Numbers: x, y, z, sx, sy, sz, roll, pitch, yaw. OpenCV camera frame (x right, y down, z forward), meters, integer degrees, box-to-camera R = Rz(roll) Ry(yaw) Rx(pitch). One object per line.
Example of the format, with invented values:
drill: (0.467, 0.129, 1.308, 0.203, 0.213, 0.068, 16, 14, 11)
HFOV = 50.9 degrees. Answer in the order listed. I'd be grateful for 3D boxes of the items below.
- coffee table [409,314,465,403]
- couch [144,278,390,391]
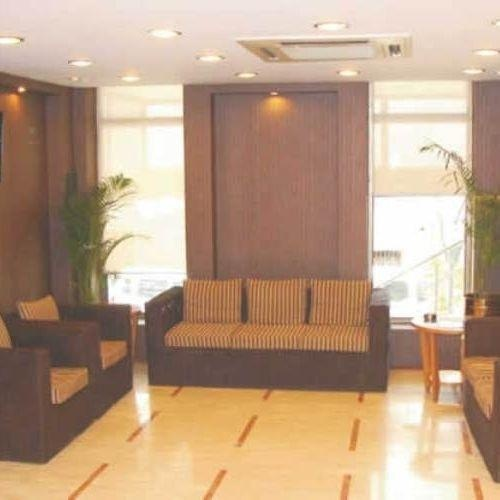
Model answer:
coffee table: (1.762, 0.968, 4.732, 0.562, 0.658, 0.563, -2, -3, 26)
couch: (0.210, 0.825, 5.332, 2.340, 1.007, 0.927, -1, 2, 14)
